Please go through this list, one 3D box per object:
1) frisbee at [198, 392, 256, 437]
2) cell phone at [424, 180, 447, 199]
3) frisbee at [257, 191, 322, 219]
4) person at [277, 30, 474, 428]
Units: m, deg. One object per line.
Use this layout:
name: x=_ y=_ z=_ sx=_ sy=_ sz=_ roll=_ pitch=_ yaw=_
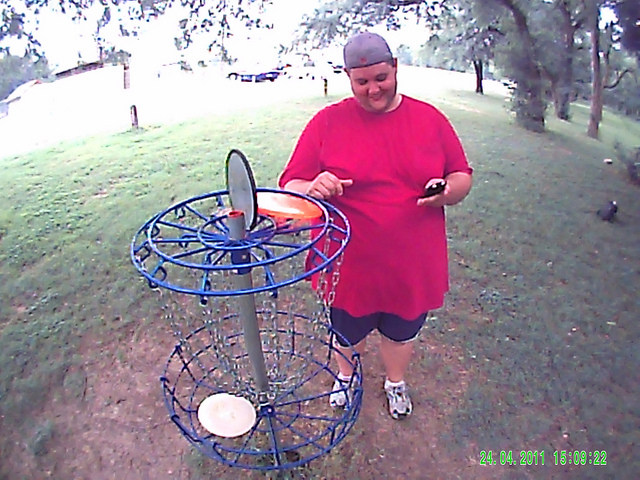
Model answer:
frisbee: x=-0.552 y=0.990 z=2.423 sx=0.227 sy=0.244 sz=0.040 roll=-6 pitch=46 yaw=-37
cell phone: x=0.600 y=-0.260 z=2.344 sx=0.094 sy=0.030 sz=0.070 roll=-35 pitch=48 yaw=-2
frisbee: x=-0.174 y=-0.168 z=2.196 sx=0.197 sy=0.024 sz=0.178 roll=7 pitch=27 yaw=-12
person: x=0.359 y=0.088 z=2.626 sx=0.934 sy=2.426 sz=0.809 roll=-2 pitch=23 yaw=4
